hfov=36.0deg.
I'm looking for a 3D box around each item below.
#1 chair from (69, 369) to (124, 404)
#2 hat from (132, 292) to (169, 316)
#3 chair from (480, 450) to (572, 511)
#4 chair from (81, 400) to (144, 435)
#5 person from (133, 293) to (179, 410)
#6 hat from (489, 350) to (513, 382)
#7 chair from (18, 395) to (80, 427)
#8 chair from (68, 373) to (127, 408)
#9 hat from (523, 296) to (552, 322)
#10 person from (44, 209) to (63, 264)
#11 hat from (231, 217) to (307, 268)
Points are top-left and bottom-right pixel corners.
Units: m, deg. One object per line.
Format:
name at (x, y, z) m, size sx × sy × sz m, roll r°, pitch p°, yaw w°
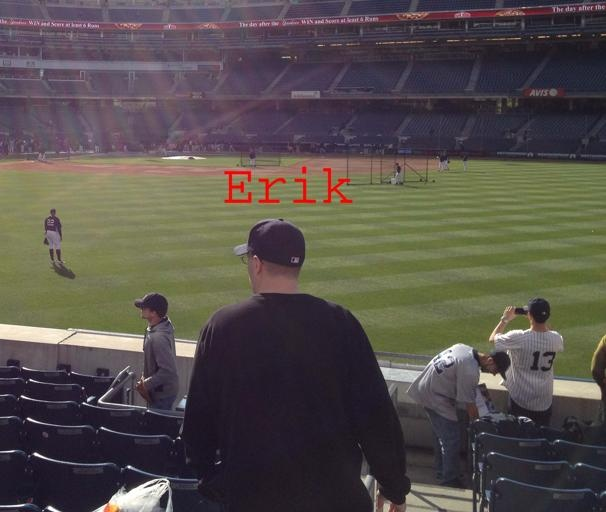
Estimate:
chair at (-3.070, 1.904, 13.708) m, size 0.490 × 0.541 × 0.472 m, roll 2°, pitch -2°, yaw -27°
hat at (-2.155, 0.667, 13.358) m, size 0.442 × 0.234 × 0.303 m, roll 20°, pitch 8°, yaw 3°
chair at (2.637, 2.773, 11.246) m, size 0.696 × 0.857 × 0.710 m, roll 3°, pitch -4°, yaw 13°
chair at (-2.455, 2.128, 12.206) m, size 0.492 × 0.619 × 0.518 m, roll 3°, pitch -3°, yaw 6°
person at (-2.077, 1.386, 13.276) m, size 0.568 × 1.658 × 0.353 m, roll -3°, pitch 7°, yaw -10°
hat at (2.719, 1.504, 12.722) m, size 0.202 × 0.414 × 0.343 m, roll 2°, pitch 8°, yaw 34°
chair at (-3.324, 2.087, 12.448) m, size 0.575 × 0.224 × 0.410 m, roll 6°, pitch -8°, yaw -12°
chair at (-3.014, 1.958, 13.637) m, size 0.573 × 0.614 × 0.503 m, roll 3°, pitch -1°, yaw -23°
hat at (3.206, 0.761, 12.767) m, size 0.245 × 0.349 × 0.360 m, roll 3°, pitch -14°, yaw 6°
person at (-6.246, -0.510, 23.457) m, size 0.424 × 1.315 × 1.568 m, roll -4°, pitch 7°, yaw -15°
hat at (-0.332, -0.177, 9.878) m, size 0.805 × 0.428 × 0.599 m, roll 8°, pitch 7°, yaw 25°
